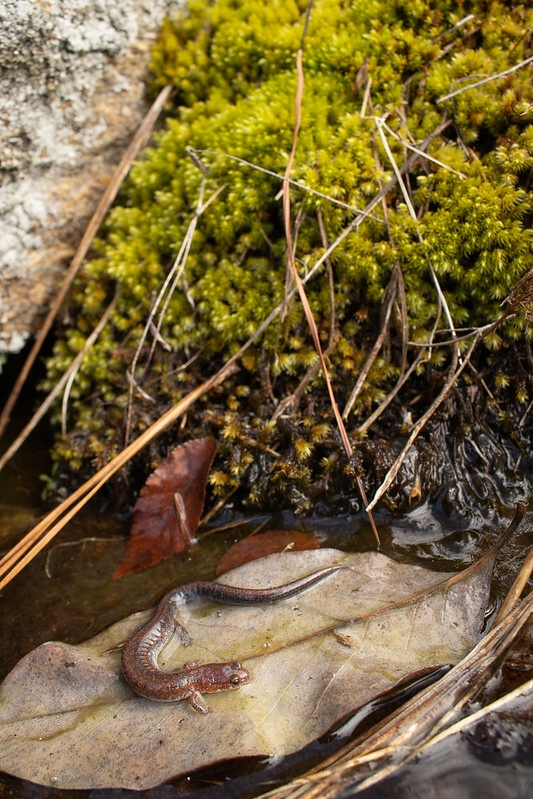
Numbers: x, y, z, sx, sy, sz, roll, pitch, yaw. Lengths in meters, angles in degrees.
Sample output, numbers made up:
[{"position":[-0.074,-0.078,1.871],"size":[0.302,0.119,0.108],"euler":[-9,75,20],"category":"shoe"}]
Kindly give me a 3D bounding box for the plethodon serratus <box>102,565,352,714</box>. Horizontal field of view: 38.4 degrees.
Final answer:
[{"position":[-0.181,0.993,3.483],"size":[0.642,0.148,1.067],"euler":[20,36,30],"category":"plethodon serratus"}]
